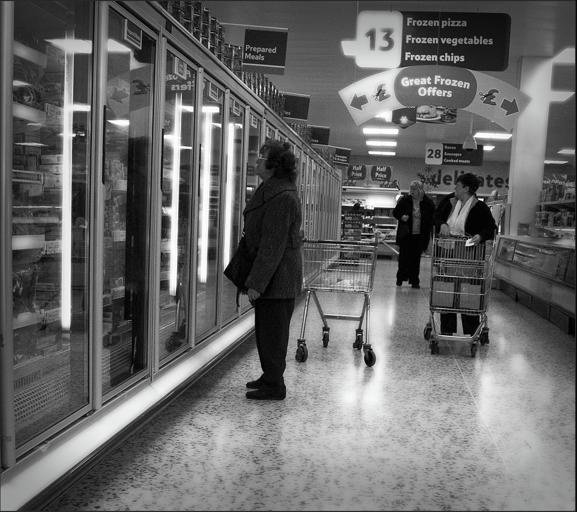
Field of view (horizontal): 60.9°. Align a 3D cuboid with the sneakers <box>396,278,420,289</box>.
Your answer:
[{"bbox_3d":[2.357,0.538,9.542,0.570,0.277,0.179,-3,-1,32],"label":"sneakers"}]

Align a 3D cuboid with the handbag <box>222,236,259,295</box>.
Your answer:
[{"bbox_3d":[-0.313,0.063,3.326,0.126,0.337,0.302,11,2,-2],"label":"handbag"}]

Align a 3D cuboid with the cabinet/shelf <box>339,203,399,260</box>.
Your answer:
[{"bbox_3d":[3.545,-1.299,20.246,0.790,2.379,2.401,-2,2,-9],"label":"cabinet/shelf"}]

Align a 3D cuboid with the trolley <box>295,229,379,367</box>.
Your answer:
[{"bbox_3d":[0.577,0.342,5.254,0.740,1.406,1.354,1,0,10],"label":"trolley"}]

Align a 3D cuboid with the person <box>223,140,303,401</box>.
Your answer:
[{"bbox_3d":[-0.160,0.099,3.314,0.497,1.773,0.367,1,3,2],"label":"person"}]
